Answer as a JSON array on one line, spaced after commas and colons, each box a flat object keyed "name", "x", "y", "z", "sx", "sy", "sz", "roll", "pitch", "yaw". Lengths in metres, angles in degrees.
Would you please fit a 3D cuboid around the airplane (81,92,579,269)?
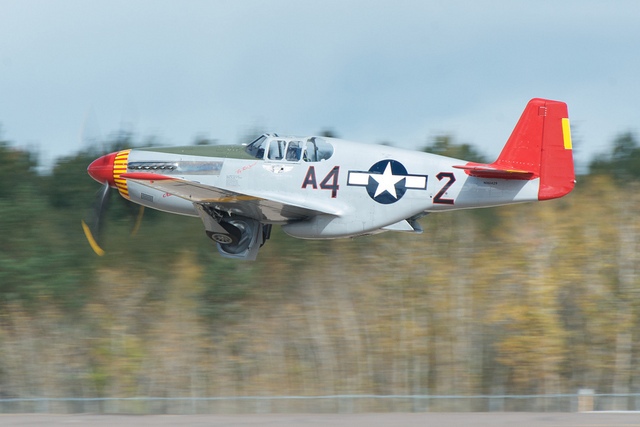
[{"name": "airplane", "x": 0.870, "y": -1.055, "z": 37.390, "sx": 14.497, "sy": 5.128, "sz": 2.172, "roll": -2, "pitch": 9, "yaw": -4}]
